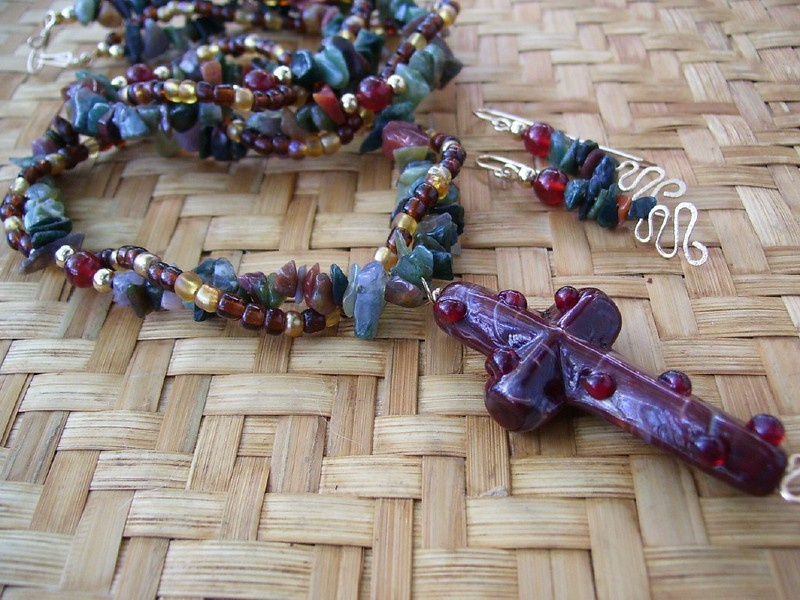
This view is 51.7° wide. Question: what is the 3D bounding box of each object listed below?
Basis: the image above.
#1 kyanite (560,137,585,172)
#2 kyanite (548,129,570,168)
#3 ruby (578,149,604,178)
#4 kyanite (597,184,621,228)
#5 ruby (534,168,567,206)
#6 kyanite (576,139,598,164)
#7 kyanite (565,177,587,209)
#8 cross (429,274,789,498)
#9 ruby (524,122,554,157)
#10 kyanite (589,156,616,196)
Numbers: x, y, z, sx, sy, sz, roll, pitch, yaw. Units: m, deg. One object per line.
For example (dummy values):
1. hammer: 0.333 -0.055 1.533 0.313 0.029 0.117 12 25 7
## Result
1. kyanite: 0.285 -0.239 1.376 0.017 0.036 0.051 19 83 -31
2. kyanite: 0.265 -0.255 1.388 0.040 0.019 0.057 8 93 -13
3. ruby: 0.312 -0.222 1.349 0.011 0.043 0.044 30 68 -7
4. kyanite: 0.335 -0.148 1.302 0.035 0.014 0.058 5 104 5
5. ruby: 0.258 -0.190 1.382 0.052 0.054 0.063 -4 100 25
6. kyanite: 0.304 -0.245 1.357 0.032 0.009 0.038 7 107 2
7. kyanite: 0.278 -0.170 1.319 0.033 0.016 0.046 10 91 25
8. cross: 0.272 0.117 1.146 0.459 0.093 0.233 31 81 20
9. ruby: 0.236 -0.273 1.405 0.052 0.054 0.063 -2 101 6
10. kyanite: 0.327 -0.200 1.328 0.037 0.029 0.070 21 65 16
